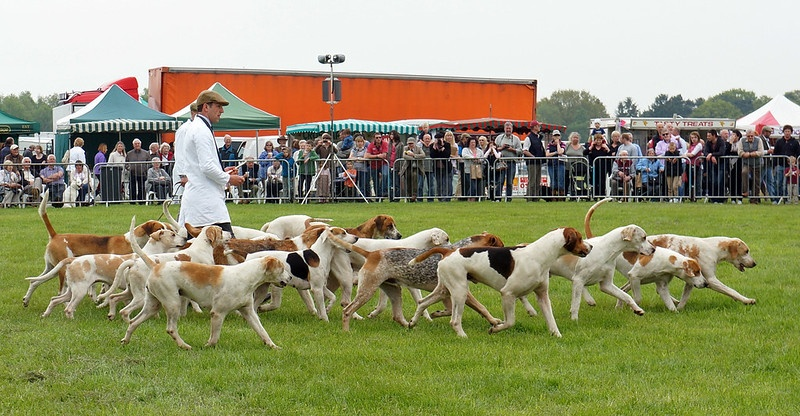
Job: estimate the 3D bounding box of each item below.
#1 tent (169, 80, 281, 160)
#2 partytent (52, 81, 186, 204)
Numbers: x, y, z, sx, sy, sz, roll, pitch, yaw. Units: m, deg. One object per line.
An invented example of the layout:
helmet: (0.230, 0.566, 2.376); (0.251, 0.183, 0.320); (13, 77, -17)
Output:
tent: (-5.563, -3.342, 42.041); (3.014, 2.049, 3.046); (-1, 2, -14)
partytent: (-9.555, -1.578, 39.205); (4.178, 4.020, 4.277); (-4, 12, -21)
